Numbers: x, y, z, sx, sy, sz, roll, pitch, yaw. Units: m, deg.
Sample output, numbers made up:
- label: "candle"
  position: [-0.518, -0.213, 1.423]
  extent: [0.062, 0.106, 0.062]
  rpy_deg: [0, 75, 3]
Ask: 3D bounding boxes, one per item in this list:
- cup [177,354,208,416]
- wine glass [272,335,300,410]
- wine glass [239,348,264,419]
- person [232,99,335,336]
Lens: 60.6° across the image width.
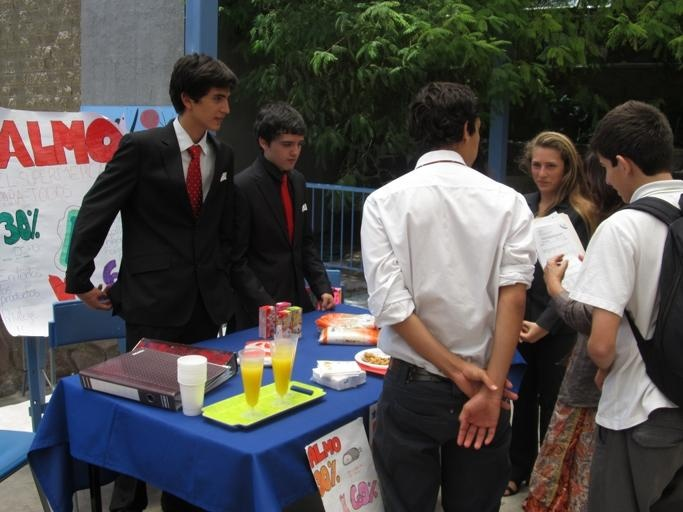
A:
- label: "cup"
  position: [-0.539, 0.459, 2.102]
  extent: [0.096, 0.195, 0.118]
  rpy_deg: [-3, 11, -21]
- label: "wine glass"
  position: [-0.217, 0.444, 2.135]
  extent: [0.116, 0.288, 0.124]
  rpy_deg: [1, 0, -3]
- label: "wine glass"
  position: [-0.315, 0.468, 2.056]
  extent: [0.084, 0.280, 0.083]
  rpy_deg: [-1, 8, -16]
- label: "person"
  position: [-0.377, 0.109, 3.454]
  extent: [0.583, 1.904, 0.589]
  rpy_deg: [8, 15, 27]
